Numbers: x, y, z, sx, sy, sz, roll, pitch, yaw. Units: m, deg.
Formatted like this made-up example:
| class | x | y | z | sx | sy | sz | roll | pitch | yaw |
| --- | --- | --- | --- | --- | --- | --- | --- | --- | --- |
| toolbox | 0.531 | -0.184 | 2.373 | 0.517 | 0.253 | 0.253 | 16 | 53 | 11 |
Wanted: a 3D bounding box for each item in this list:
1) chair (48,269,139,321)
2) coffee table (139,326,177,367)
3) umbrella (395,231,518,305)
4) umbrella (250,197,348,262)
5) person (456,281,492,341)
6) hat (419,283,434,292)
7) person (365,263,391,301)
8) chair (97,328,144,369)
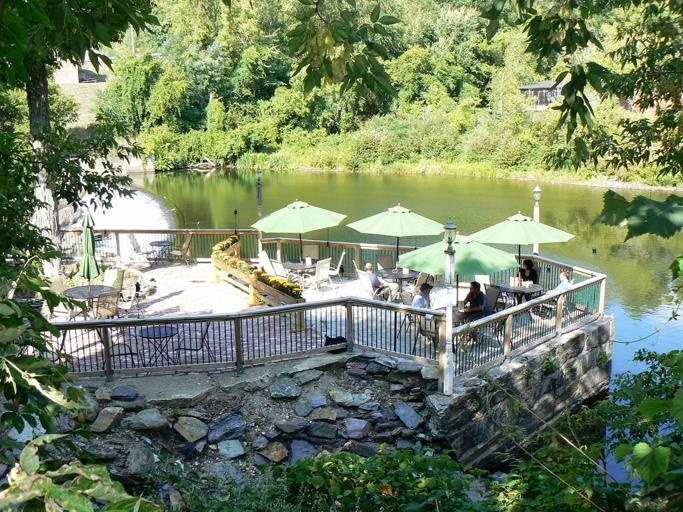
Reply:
| class | x | y | z | sx | sy | sz | roll | pitch | yaw |
| --- | --- | --- | --- | --- | --- | --- | --- | --- | --- |
| chair | -5.592 | 0.918 | 13.107 | 1.079 | 1.086 | 1.111 | -1 | 14 | -28 |
| coffee table | -3.495 | 1.612 | 10.998 | 0.843 | 0.835 | 0.826 | -3 | 8 | -25 |
| umbrella | 2.899 | 0.371 | 14.303 | 1.969 | 0.971 | 1.847 | -1 | 5 | -1 |
| umbrella | -1.284 | -1.096 | 17.088 | 2.125 | 1.494 | 2.090 | -9 | 15 | -23 |
| person | 2.933 | 0.961 | 12.570 | 0.593 | 0.813 | 1.003 | 5 | 12 | 19 |
| hat | 1.961 | 0.708 | 12.821 | 0.272 | 0.141 | 0.175 | -18 | 18 | -17 |
| person | 0.982 | 0.716 | 15.235 | 0.659 | 0.965 | 0.496 | -19 | 24 | -10 |
| chair | -4.190 | 1.767 | 10.865 | 0.717 | 1.017 | 0.593 | -6 | 11 | -12 |
